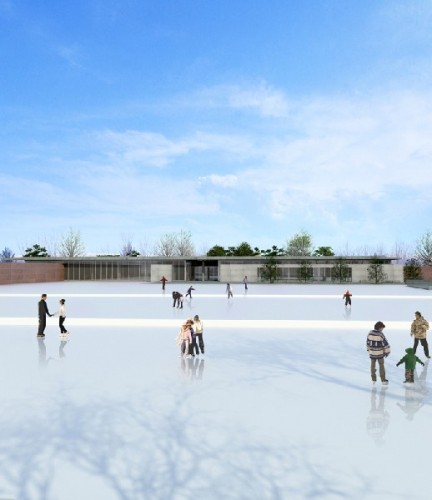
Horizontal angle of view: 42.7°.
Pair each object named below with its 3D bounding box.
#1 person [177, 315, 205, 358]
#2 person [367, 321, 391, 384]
[{"bbox_3d":[-0.581,2.033,12.871,0.568,1.394,0.440,0,-14,4],"label":"person"},{"bbox_3d":[3.062,1.875,10.425,0.391,1.213,0.622,2,6,19],"label":"person"}]
